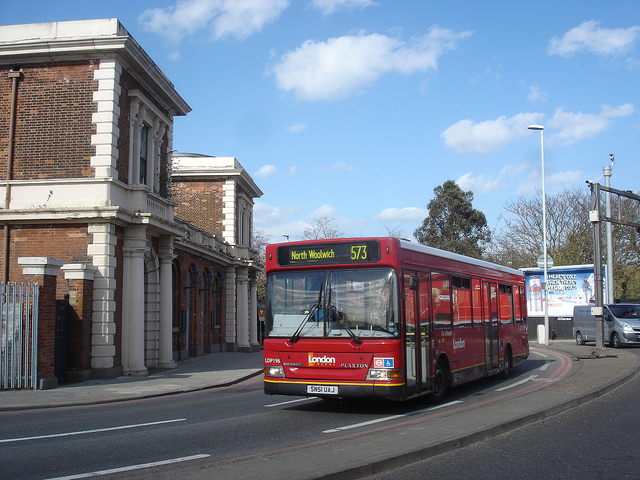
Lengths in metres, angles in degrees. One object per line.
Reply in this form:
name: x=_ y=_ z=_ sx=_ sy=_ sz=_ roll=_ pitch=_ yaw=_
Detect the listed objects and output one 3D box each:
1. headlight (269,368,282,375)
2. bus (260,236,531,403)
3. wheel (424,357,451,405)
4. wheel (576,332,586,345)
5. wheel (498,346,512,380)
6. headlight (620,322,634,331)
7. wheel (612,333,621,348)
headlight: x=-1.005 y=2.973 z=15.738 sx=0.163 sy=0.185 sz=0.041 roll=2 pitch=-10 yaw=20
bus: x=3.047 y=2.374 z=20.006 sx=3.409 sy=3.943 sz=11.448 roll=-4 pitch=-8 yaw=31
wheel: x=2.734 y=3.319 z=16.469 sx=0.375 sy=1.185 sz=1.091 roll=-5 pitch=-2 yaw=36
wheel: x=13.862 y=5.246 z=37.123 sx=0.229 sy=0.735 sz=0.684 roll=3 pitch=4 yaw=2
wheel: x=5.544 y=3.684 z=21.028 sx=0.305 sy=1.053 sz=0.980 roll=3 pitch=5 yaw=13
headlight: x=14.139 y=4.011 z=32.272 sx=0.178 sy=0.349 sz=0.702 roll=0 pitch=-3 yaw=-16
wheel: x=13.906 y=4.712 z=32.753 sx=0.219 sy=0.710 sz=0.666 roll=2 pitch=-5 yaw=1
